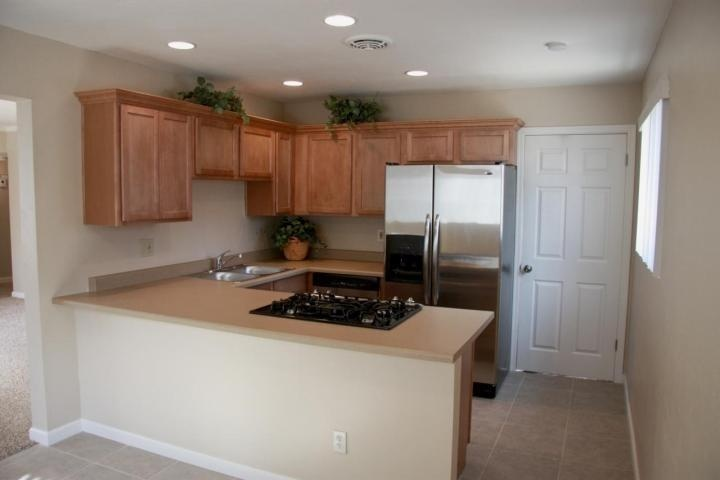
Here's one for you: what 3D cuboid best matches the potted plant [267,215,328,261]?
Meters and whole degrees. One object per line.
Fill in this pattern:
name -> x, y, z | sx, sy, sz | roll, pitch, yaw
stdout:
potted plant -> -0.730, -0.034, 6.054 | 0.579, 0.387, 0.577 | 0, 2, 28

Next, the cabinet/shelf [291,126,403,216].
cabinet/shelf -> -0.100, -0.768, 5.585 | 1.121, 0.824, 0.381 | 1, 0, 19

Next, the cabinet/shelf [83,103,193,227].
cabinet/shelf -> -1.869, -0.629, 4.244 | 0.477, 1.149, 1.078 | 3, 4, 25

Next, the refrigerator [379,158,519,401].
refrigerator -> 0.905, 0.326, 5.182 | 1.229, 2.223, 0.785 | 7, 16, 22

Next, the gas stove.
gas stove -> -0.166, 0.505, 3.824 | 1.159, 0.095, 0.588 | 5, 14, 16

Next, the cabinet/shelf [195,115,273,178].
cabinet/shelf -> -1.298, -0.889, 5.140 | 0.228, 0.632, 1.325 | 6, 7, 22

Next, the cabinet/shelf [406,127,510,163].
cabinet/shelf -> 1.059, -1.005, 5.376 | 1.307, 0.410, 0.378 | 6, 11, 35
